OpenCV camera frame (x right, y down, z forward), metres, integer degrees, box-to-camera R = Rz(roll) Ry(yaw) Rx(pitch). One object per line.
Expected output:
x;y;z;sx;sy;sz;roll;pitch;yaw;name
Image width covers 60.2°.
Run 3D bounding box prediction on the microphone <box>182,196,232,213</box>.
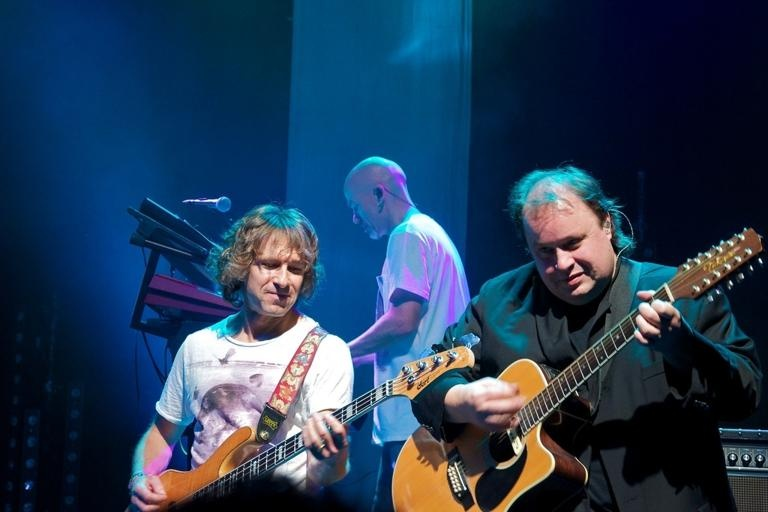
-1.648;-0.497;6.240;0.554;0.180;0.185;3;30;28;microphone
